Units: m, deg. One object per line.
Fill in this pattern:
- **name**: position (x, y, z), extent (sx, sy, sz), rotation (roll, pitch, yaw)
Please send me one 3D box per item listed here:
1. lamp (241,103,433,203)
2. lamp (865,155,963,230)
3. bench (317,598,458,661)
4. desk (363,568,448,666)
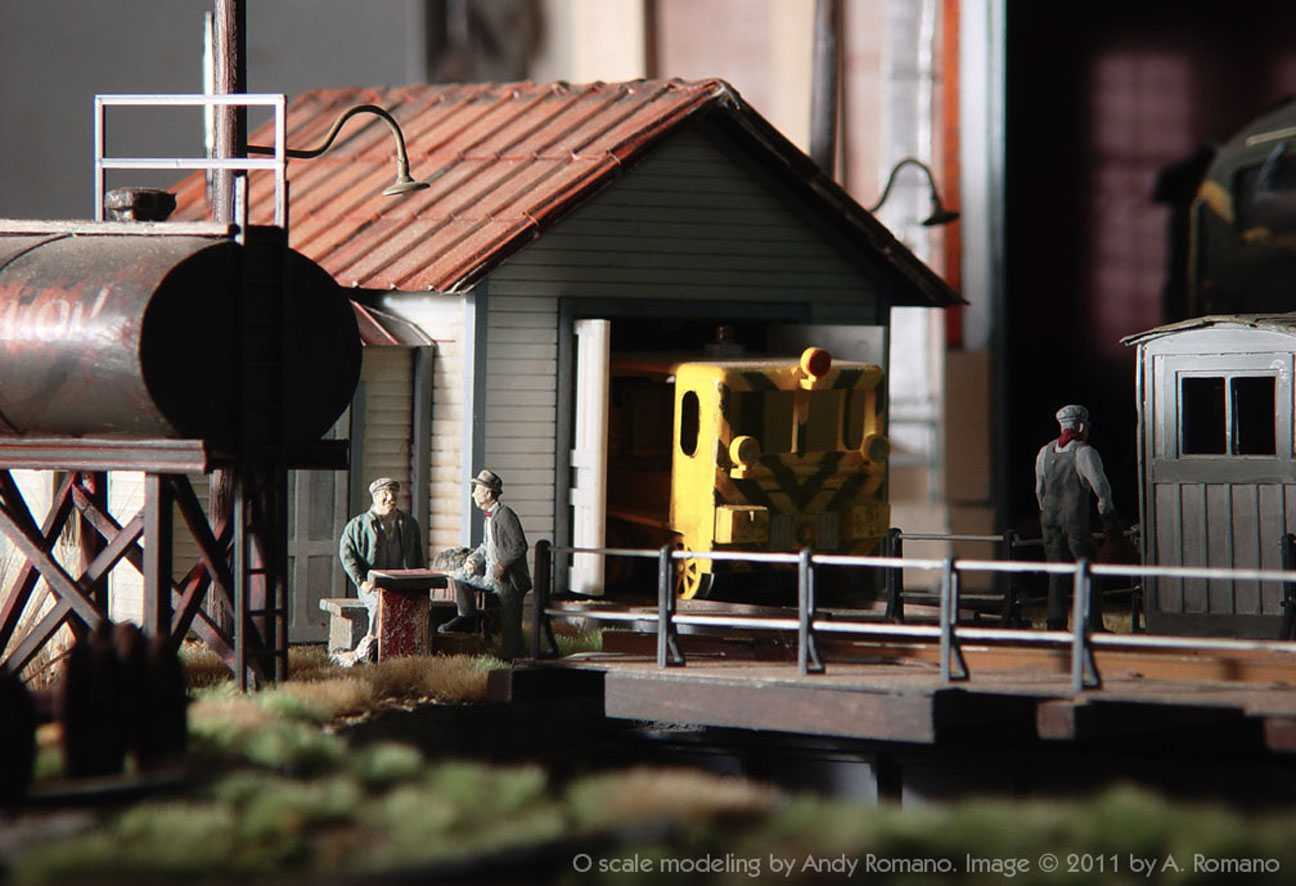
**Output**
- **lamp**: position (-3.349, -3.151, 30.603), extent (2.152, 0.902, 0.614), rotation (0, 21, 23)
- **lamp**: position (3.253, -3.058, 35.013), extent (1.204, 0.824, 0.251), rotation (3, 4, 15)
- **bench**: position (-3.033, 1.910, 30.547), extent (0.836, 0.506, 0.823), rotation (-2, 5, -35)
- **desk**: position (-2.409, 1.788, 29.756), extent (0.847, 1.226, 0.941), rotation (2, -2, -29)
